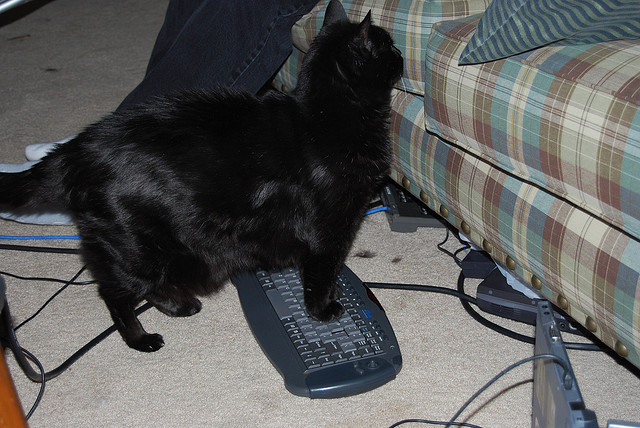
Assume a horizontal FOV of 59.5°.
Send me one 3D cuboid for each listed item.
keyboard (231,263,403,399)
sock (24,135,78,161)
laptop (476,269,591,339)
[{"bbox_3d":[-0.023,0.277,1.509,0.346,0.057,0.576,-13,29,-19],"label":"keyboard"},{"bbox_3d":[-0.795,-0.193,1.641,0.204,0.047,0.115,-19,21,-34],"label":"sock"},{"bbox_3d":[0.562,0.204,1.540,0.287,0.053,0.276,-16,-3,-13],"label":"laptop"}]
